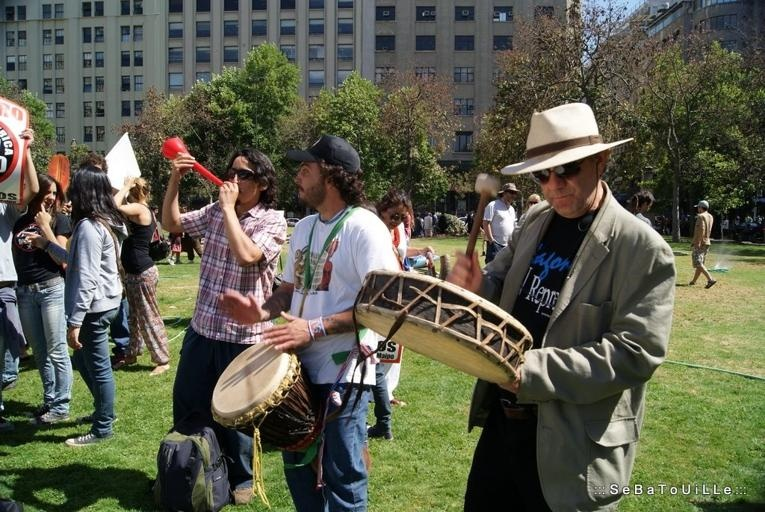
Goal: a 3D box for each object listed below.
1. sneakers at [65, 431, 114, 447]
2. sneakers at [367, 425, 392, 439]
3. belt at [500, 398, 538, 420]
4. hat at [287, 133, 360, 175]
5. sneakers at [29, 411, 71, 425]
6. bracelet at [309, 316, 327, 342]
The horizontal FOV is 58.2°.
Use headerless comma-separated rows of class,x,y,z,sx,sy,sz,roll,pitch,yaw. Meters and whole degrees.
sneakers,-3.359,2.083,7.885,0.456,0.206,0.181,7,-9,-15
sneakers,-0.026,2.052,8.031,0.316,0.164,0.122,-5,-6,33
belt,1.103,1.254,5.582,0.190,0.113,0.161,-12,1,12
hat,-0.495,-0.876,6.141,0.513,0.305,0.352,21,6,-7
sneakers,-3.950,1.935,8.186,0.315,0.149,0.158,5,-3,-19
bracelet,-0.540,0.610,5.773,0.134,0.160,0.149,-16,-16,-3
